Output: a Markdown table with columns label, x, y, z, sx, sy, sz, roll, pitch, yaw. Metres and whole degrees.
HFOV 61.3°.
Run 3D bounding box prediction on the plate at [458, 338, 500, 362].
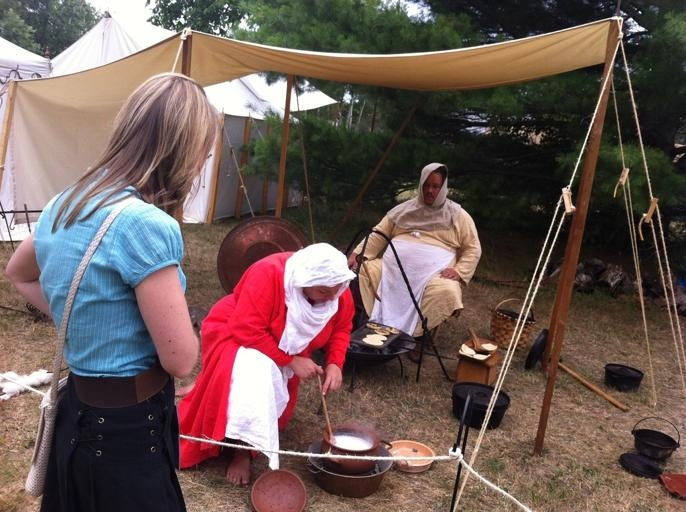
| label | x | y | z | sx | sy | sz | roll | pitch | yaw |
| --- | --- | --- | --- | --- | --- | --- | --- | --- | --- |
| plate | 1.157 | 0.794 | 4.930 | 0.268 | 0.073 | 0.323 | 17 | 21 | 29 |

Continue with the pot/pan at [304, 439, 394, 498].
| label | x | y | z | sx | sy | sz | roll | pitch | yaw |
| --- | --- | --- | --- | --- | --- | --- | --- | --- | --- |
| pot/pan | 0.032 | 1.403 | 3.661 | 0.349 | 0.141 | 0.395 | 0 | 2 | 29 |

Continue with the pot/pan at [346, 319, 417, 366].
| label | x | y | z | sx | sy | sz | roll | pitch | yaw |
| --- | --- | --- | --- | --- | --- | --- | --- | --- | --- |
| pot/pan | 0.289 | 0.715 | 4.697 | 0.337 | 0.104 | 0.332 | 10 | 17 | 25 |

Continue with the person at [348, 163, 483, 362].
| label | x | y | z | sx | sy | sz | roll | pitch | yaw |
| --- | --- | --- | --- | --- | --- | --- | --- | --- | --- |
| person | 0.697 | -0.096 | 5.756 | 1.250 | 1.751 | 0.998 | 7 | 2 | 14 |

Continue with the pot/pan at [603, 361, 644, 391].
| label | x | y | z | sx | sy | sz | roll | pitch | yaw |
| --- | --- | --- | --- | --- | --- | --- | --- | --- | --- |
| pot/pan | 2.493 | 1.070 | 5.142 | 0.293 | 0.180 | 0.268 | 2 | 18 | -13 |

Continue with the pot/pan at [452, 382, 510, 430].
| label | x | y | z | sx | sy | sz | roll | pitch | yaw |
| --- | --- | --- | --- | --- | --- | --- | --- | --- | --- |
| pot/pan | 1.083 | 1.147 | 4.476 | 0.395 | 0.181 | 0.448 | 1 | -21 | 35 |

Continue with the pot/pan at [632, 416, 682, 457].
| label | x | y | z | sx | sy | sz | roll | pitch | yaw |
| --- | --- | --- | --- | --- | --- | --- | --- | --- | --- |
| pot/pan | 2.311 | 1.337 | 4.259 | 0.331 | 0.320 | 0.283 | 3 | 19 | 32 |

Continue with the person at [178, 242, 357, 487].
| label | x | y | z | sx | sy | sz | roll | pitch | yaw |
| --- | --- | --- | --- | --- | --- | --- | --- | --- | --- |
| person | -0.534 | 0.641 | 3.982 | 0.974 | 1.557 | 1.311 | 7 | 3 | -35 |

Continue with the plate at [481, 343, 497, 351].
| label | x | y | z | sx | sy | sz | roll | pitch | yaw |
| --- | --- | --- | --- | --- | --- | --- | --- | --- | --- |
| plate | 1.252 | 0.774 | 4.945 | 0.077 | 0.035 | 0.073 | 5 | 0 | -14 |
